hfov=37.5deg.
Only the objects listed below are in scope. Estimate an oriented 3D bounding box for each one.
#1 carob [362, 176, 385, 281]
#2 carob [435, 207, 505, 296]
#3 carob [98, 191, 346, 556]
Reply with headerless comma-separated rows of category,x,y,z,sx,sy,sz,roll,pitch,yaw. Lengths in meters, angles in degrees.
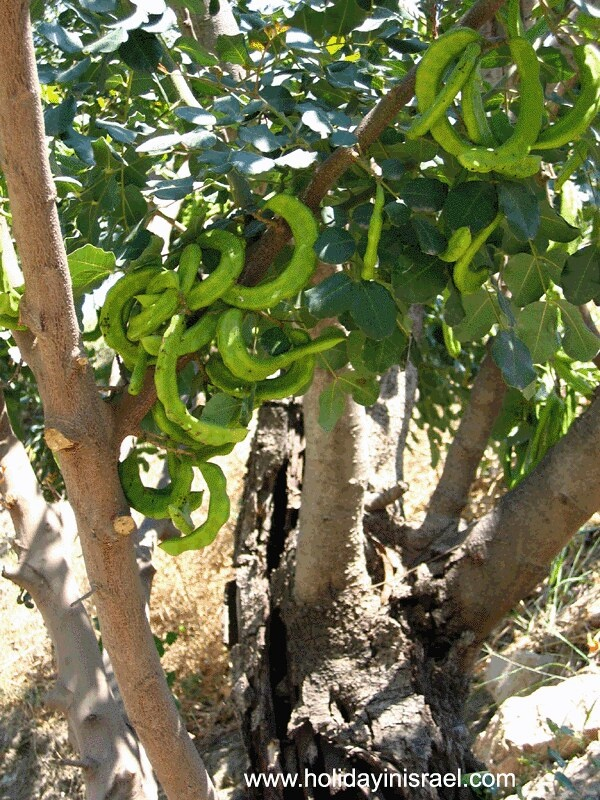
carob,0.138,-0.327,1.687,0.049,0.208,0.135,-3,-7,4
carob,0.312,-0.268,1.625,0.099,0.155,0.042,25,23,-32
carob,-0.184,-0.045,1.696,0.470,0.671,0.349,-8,-9,41
